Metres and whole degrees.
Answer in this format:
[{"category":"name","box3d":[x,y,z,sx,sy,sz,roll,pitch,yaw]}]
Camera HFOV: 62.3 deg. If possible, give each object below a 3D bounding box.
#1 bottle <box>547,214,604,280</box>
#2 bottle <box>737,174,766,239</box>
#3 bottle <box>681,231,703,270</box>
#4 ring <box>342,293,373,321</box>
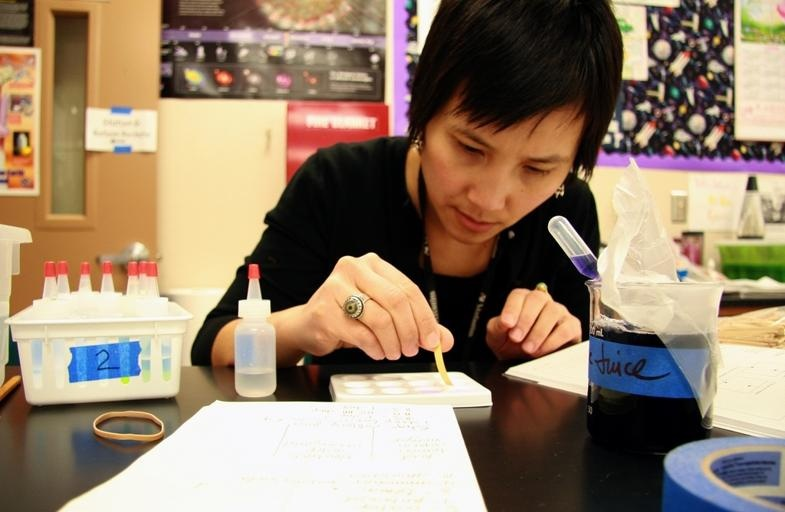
[{"category":"bottle","box3d":[0.358,-0.015,1.287,0.089,0.126,0.254,0,9,13]},{"category":"bottle","box3d":[1.754,-0.239,3.165,0.137,0.311,0.067,-5,10,-17]},{"category":"bottle","box3d":[1.440,-0.039,3.114,0.127,0.166,0.028,-5,10,-16]},{"category":"ring","box3d":[-0.078,0.113,1.407,0.043,0.030,0.057,-5,11,24]}]
